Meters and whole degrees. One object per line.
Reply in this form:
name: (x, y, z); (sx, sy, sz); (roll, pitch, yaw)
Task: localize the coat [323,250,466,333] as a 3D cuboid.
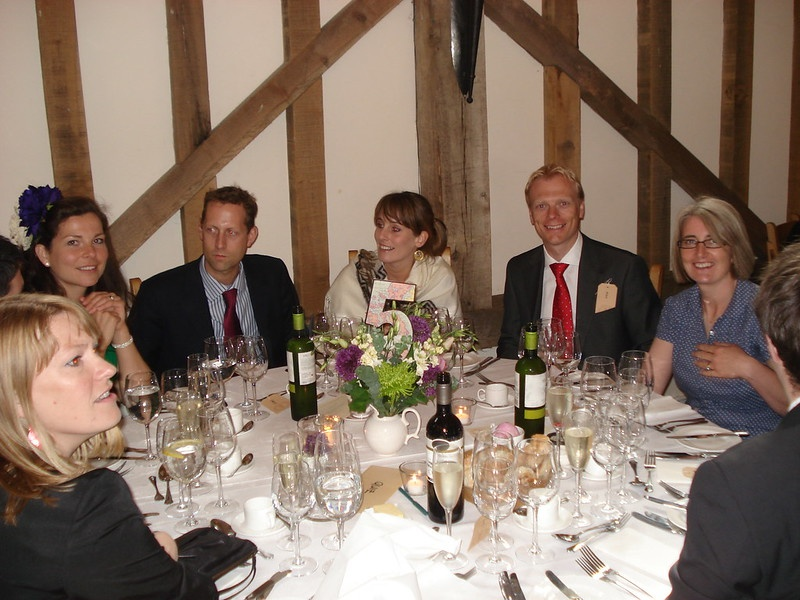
coat: (-0.050, 0.014, 3.801); (0.793, 0.617, 0.428); (8, -11, -3)

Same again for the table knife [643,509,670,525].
table knife: (0.769, 0.637, 1.912); (0.021, 0.020, 0.081); (-3, 11, -19)

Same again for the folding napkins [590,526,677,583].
folding napkins: (0.664, 0.688, 1.766); (0.115, 0.011, 0.132); (11, 16, 41)

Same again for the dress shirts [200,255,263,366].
dress shirts: (-0.907, 0.059, 3.439); (0.275, 0.564, 0.130); (-7, 0, -13)

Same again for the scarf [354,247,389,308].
scarf: (-0.161, -0.144, 3.783); (0.192, 0.269, 0.103); (9, 1, 35)

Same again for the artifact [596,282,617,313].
artifact: (1.070, -0.011, 3.312); (0.114, 0.211, 0.029); (10, 10, 31)

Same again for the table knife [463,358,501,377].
table knife: (0.385, 0.305, 3.017); (0.061, 0.017, 0.238); (15, 24, 31)

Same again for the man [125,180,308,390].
man: (-1.019, -0.090, 3.410); (1.050, 1.178, 0.578); (-4, 8, -28)
